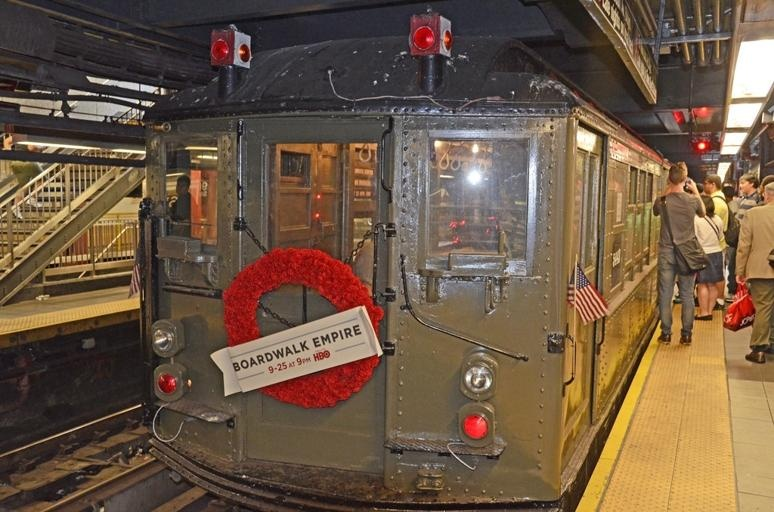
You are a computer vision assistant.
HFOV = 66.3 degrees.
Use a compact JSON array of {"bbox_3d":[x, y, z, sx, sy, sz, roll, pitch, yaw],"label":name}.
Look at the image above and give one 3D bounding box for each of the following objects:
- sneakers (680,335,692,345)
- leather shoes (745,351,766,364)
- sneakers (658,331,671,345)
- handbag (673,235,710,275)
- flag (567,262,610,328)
[{"bbox_3d":[5.013,1.406,9.889,0.087,0.212,0.276,0,-4,-4],"label":"sneakers"},{"bbox_3d":[5.703,1.564,9.132,0.141,0.145,0.324,-1,10,4],"label":"leather shoes"},{"bbox_3d":[4.758,1.394,10.120,0.113,0.155,0.341,2,11,9],"label":"sneakers"},{"bbox_3d":[4.799,-0.022,9.346,0.428,0.520,0.271,-35,12,-22],"label":"handbag"},{"bbox_3d":[1.871,0.358,5.512,0.632,0.777,0.055,-10,13,-43],"label":"flag"}]
